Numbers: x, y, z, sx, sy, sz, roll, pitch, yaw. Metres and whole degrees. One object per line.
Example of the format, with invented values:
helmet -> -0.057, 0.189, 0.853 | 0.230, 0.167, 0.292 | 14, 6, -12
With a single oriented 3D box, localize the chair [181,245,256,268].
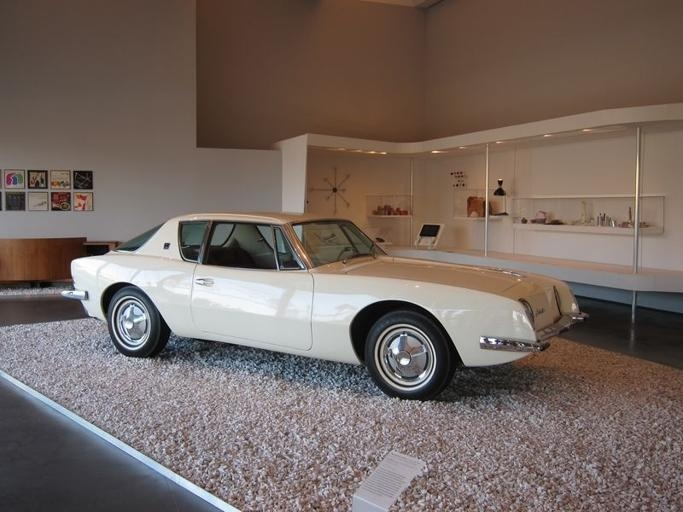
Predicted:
chair -> -1.061, -0.004, 3.905 | 0.442, 0.171, 0.334 | 10, 5, 34
